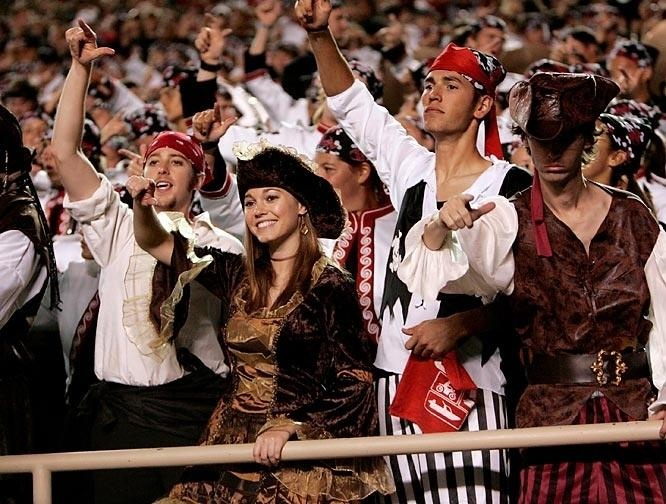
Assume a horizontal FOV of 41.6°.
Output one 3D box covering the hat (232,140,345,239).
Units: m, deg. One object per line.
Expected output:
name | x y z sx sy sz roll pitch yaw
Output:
hat | -0.200 -0.336 4.292 0.467 0.423 0.201 18 48 28

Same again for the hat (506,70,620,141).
hat | 1.019 -0.637 3.862 0.476 0.329 0.215 -1 -1 13
